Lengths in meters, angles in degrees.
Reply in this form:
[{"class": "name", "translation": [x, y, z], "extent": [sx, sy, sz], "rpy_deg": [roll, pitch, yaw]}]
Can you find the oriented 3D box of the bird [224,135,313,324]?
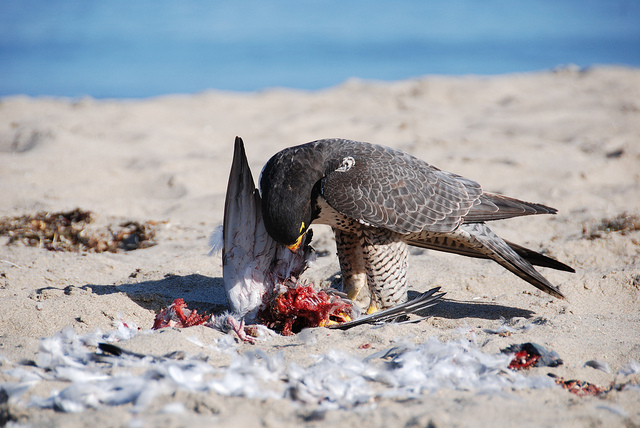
[{"class": "bird", "translation": [-0.707, 0.221, 11.940], "extent": [0.961, 2.244, 0.639], "rpy_deg": [-3, 17, -8]}]
